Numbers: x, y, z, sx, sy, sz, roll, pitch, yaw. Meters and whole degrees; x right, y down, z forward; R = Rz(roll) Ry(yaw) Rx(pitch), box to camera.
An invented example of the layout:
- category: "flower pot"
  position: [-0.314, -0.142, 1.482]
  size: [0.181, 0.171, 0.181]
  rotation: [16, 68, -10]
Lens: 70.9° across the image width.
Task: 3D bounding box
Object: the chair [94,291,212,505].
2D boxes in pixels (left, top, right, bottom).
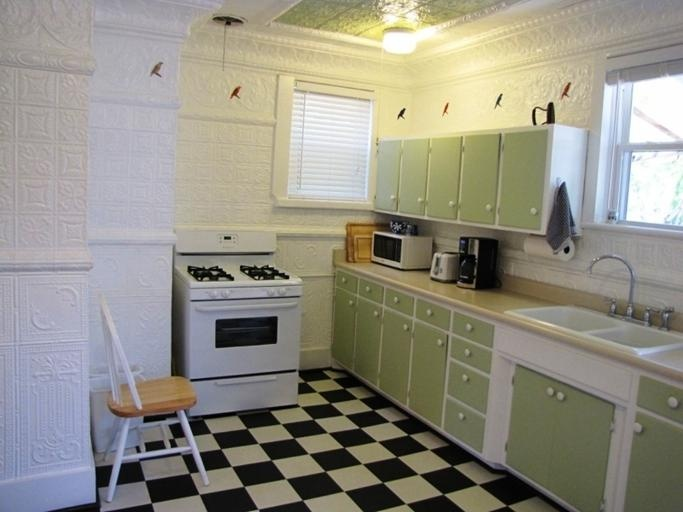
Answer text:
- category: "chair"
  position: [-1.136, 0.776, 2.911]
  size: [0.554, 1.103, 0.703]
  rotation: [-2, 12, -24]

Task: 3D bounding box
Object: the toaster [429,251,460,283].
- category: "toaster"
  position: [0.799, 0.083, 3.896]
  size: [0.216, 0.246, 0.266]
  rotation: [1, 6, -11]

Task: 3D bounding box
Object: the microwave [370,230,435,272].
- category: "microwave"
  position: [0.563, -0.072, 4.454]
  size: [0.360, 0.320, 0.514]
  rotation: [-6, 12, -28]

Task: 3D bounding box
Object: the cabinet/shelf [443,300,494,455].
- category: "cabinet/shelf"
  position: [0.782, 0.843, 3.383]
  size: [0.377, 0.350, 0.732]
  rotation: [-26, 40, 24]

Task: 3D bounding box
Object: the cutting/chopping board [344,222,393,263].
- category: "cutting/chopping board"
  position: [0.195, -0.127, 4.461]
  size: [0.359, 0.348, 0.091]
  rotation: [2, -2, -18]

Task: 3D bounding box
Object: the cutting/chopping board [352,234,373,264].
- category: "cutting/chopping board"
  position: [0.198, -0.071, 4.519]
  size: [0.180, 0.231, 0.102]
  rotation: [1, 11, -12]

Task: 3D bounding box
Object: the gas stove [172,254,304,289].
- category: "gas stove"
  position: [-0.846, 0.107, 3.844]
  size: [0.895, 0.132, 0.642]
  rotation: [-1, 11, -24]

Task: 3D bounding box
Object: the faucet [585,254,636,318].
- category: "faucet"
  position: [1.671, 0.190, 2.978]
  size: [0.299, 0.435, 0.083]
  rotation: [13, 33, 41]

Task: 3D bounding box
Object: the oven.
- category: "oven"
  position: [-0.771, 0.718, 4.024]
  size: [1.059, 1.071, 0.797]
  rotation: [-1, 3, -22]

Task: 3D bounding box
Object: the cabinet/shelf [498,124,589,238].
- category: "cabinet/shelf"
  position: [1.368, -0.522, 3.331]
  size: [0.538, 0.717, 0.538]
  rotation: [4, 5, -3]

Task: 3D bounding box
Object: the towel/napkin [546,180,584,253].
- category: "towel/napkin"
  position: [1.436, -0.243, 3.087]
  size: [0.180, 0.471, 0.138]
  rotation: [-4, 13, -33]
